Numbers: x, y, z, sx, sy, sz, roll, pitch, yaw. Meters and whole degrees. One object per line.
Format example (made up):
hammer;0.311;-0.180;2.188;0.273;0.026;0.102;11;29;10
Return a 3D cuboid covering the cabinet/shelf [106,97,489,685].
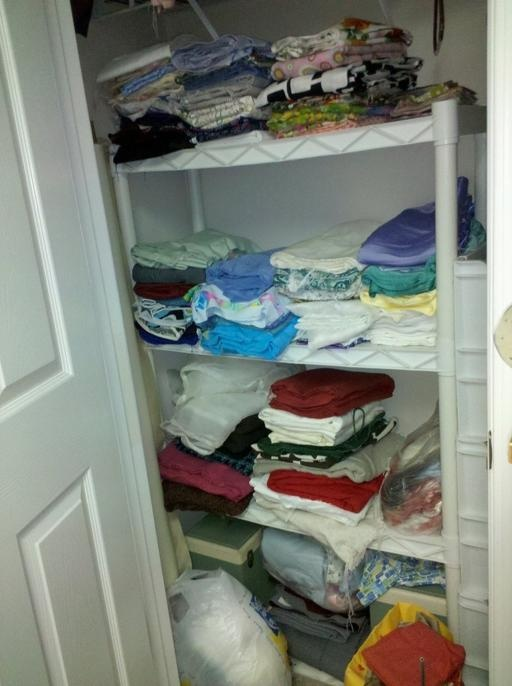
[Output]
cabinet/shelf;0.184;0.020;1.723;1.189;1.296;0.622;5;22;37
